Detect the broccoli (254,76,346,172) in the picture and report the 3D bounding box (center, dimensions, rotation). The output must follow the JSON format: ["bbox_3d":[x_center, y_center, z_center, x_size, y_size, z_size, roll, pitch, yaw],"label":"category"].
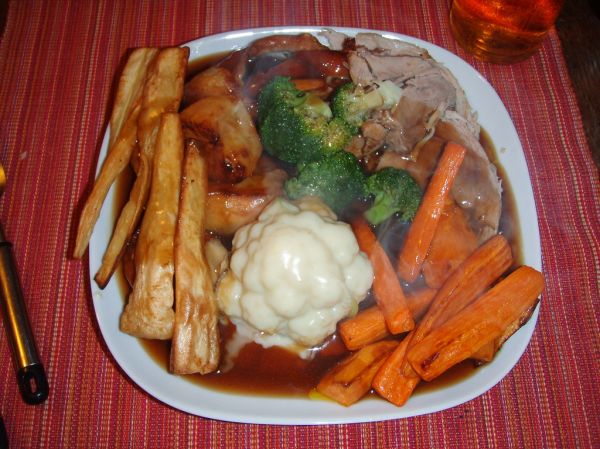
[{"bbox_3d":[-0.004,-0.460,2.625,0.350,0.122,0.428,-16,84,7],"label":"broccoli"}]

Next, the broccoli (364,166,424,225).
[{"bbox_3d":[0.450,-0.125,2.776,0.231,0.236,0.276,45,61,-37],"label":"broccoli"}]

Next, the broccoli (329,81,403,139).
[{"bbox_3d":[0.310,-0.573,2.741,0.281,0.122,0.244,-20,98,-13],"label":"broccoli"}]
